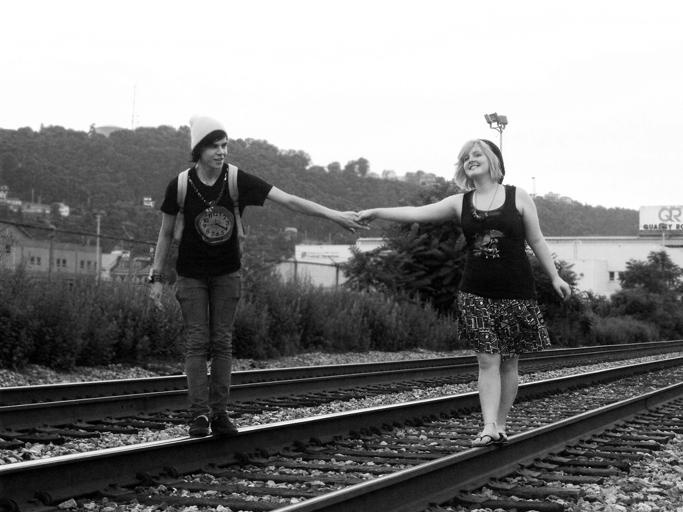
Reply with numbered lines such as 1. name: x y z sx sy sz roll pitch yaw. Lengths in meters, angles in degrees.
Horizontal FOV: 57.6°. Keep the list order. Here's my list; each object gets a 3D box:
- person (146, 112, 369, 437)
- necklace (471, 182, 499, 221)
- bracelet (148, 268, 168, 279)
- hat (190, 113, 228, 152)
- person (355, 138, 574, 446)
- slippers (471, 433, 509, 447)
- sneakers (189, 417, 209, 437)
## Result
1. person: -0.907 0.149 5.093 1.252 2.553 0.576 2 -3 -21
2. necklace: 1.182 -0.442 5.003 0.070 0.311 0.152 27 -18 -35
3. bracelet: -1.548 0.166 5.206 0.109 0.098 0.163 1 -5 5
4. hat: -1.122 -0.992 4.977 0.373 0.330 0.180 -2 -4 43
5. person: 1.233 0.296 5.129 1.267 2.493 0.514 0 -3 19
6. slippers: 1.196 1.439 4.946 0.300 0.091 0.120 7 -14 -28
7. sneakers: -1.098 1.311 4.819 0.149 0.150 0.141 2 -3 -18
